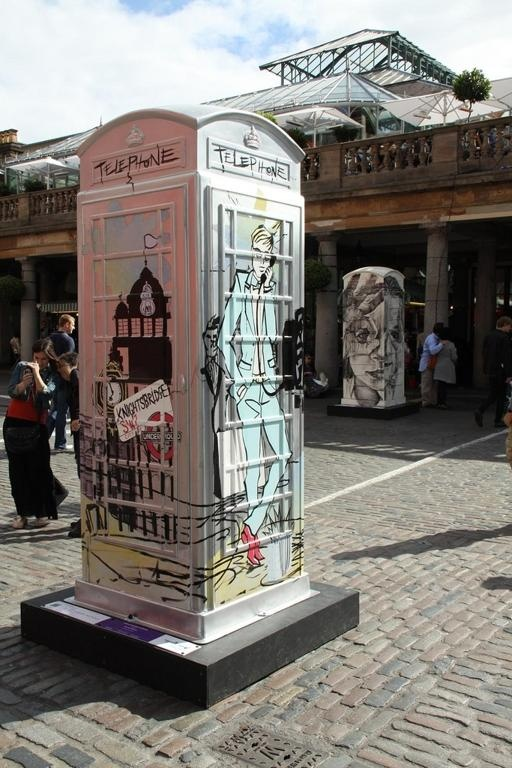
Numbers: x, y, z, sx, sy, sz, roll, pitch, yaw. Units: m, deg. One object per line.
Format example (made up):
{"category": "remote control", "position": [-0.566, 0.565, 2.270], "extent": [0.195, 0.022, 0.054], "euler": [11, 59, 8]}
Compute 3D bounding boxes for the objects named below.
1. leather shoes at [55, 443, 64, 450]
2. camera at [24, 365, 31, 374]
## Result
{"category": "leather shoes", "position": [-2.733, 0.876, 10.565], "extent": [0.062, 0.068, 0.164], "euler": [0, -6, -35]}
{"category": "camera", "position": [-1.830, -0.121, 6.060], "extent": [0.029, 0.072, 0.103], "euler": [-2, 3, -31]}
